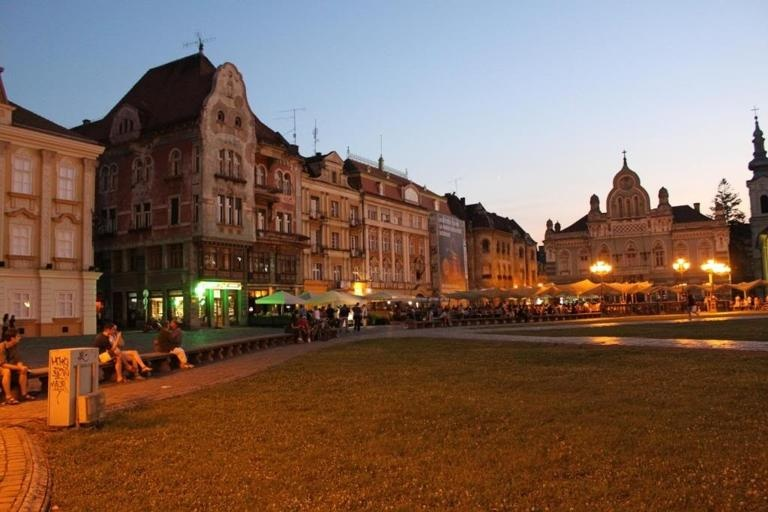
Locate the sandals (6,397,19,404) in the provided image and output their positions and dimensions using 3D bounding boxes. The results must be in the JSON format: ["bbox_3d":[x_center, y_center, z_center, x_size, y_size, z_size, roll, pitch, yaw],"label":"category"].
[{"bbox_3d":[-9.111,3.547,15.459,0.239,0.157,0.302,-1,-8,-30],"label":"sandals"}]

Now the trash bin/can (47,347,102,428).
[{"bbox_3d":[-6.373,2.691,12.956,0.950,1.583,0.628,-1,-7,-27],"label":"trash bin/can"}]
